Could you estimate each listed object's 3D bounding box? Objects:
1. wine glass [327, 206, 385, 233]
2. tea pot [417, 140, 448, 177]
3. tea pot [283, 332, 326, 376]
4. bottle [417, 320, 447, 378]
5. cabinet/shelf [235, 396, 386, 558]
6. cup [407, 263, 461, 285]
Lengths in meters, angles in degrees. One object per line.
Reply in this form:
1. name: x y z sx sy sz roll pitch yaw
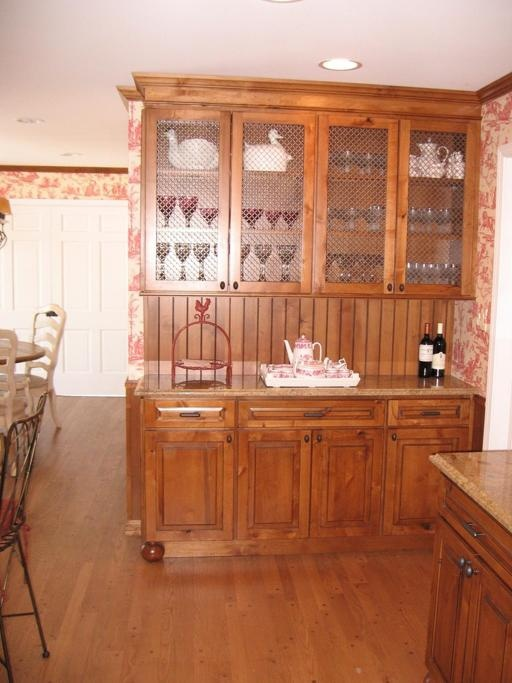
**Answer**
1. wine glass: 0.525 -0.637 2.908 0.255 0.070 0.140 -4 9 -16
2. tea pot: 0.939 -0.967 2.931 0.201 0.198 0.136 -2 10 -2
3. tea pot: 0.277 0.083 3.052 0.251 0.277 0.181 1 3 10
4. bottle: 1.021 0.056 3.214 0.151 0.319 0.188 3 5 16
5. cabinet/shelf: 0.253 0.660 2.829 0.835 0.785 0.320 -1 3 -7
6. cup: 0.969 -0.369 2.999 0.256 0.131 0.060 -1 5 -9
